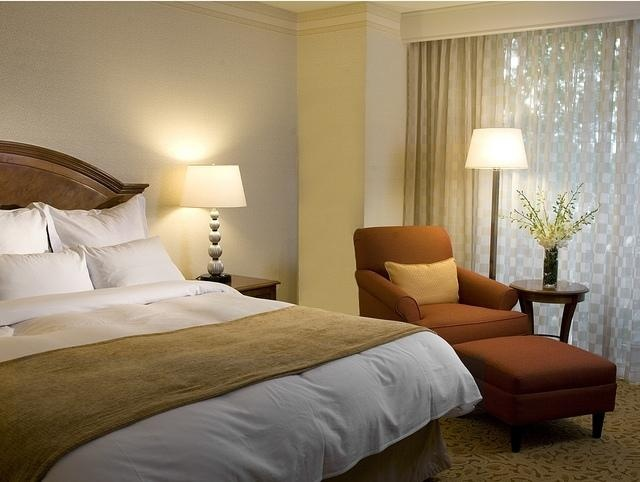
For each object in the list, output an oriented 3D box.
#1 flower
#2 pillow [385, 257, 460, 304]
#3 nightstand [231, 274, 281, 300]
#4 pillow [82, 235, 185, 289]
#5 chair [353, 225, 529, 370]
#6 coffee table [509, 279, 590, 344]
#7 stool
[{"bbox_3d":[2.002,0.043,4.168,0.609,0.579,0.467,6,-12,-16],"label":"flower"},{"bbox_3d":[0.922,0.383,4.262,0.755,0.418,0.227,-2,-4,-28],"label":"pillow"},{"bbox_3d":[-0.646,0.399,4.298,0.291,0.256,0.291,5,8,39],"label":"nightstand"},{"bbox_3d":[-1.254,0.165,3.368,0.459,0.277,0.597,17,16,42],"label":"pillow"},{"bbox_3d":[1.008,0.549,4.210,1.175,1.239,1.294,-2,7,-8],"label":"chair"},{"bbox_3d":[1.915,0.506,4.140,0.632,0.568,0.593,3,3,30],"label":"coffee table"},{"bbox_3d":[1.376,0.884,3.123,0.803,0.435,0.737,-2,2,-20],"label":"stool"}]
